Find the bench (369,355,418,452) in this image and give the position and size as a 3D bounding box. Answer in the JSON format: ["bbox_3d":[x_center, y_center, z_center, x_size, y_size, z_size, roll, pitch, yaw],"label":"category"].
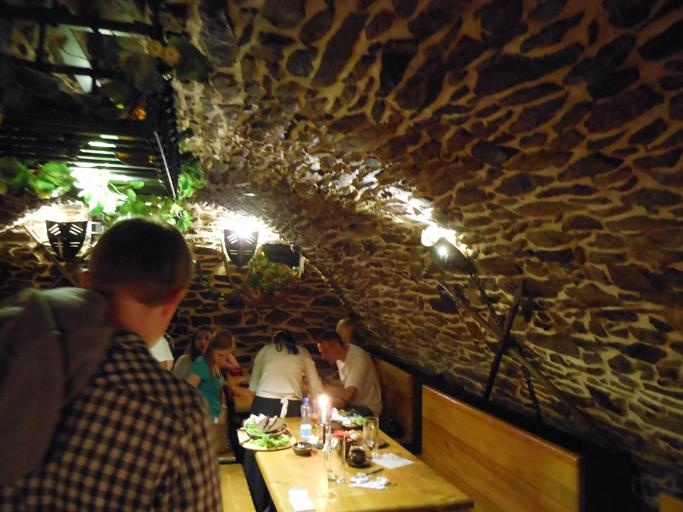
[{"bbox_3d":[0.687,1.705,5.393,0.589,0.770,1.151,-1,2,-11],"label":"bench"}]

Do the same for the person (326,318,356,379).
[{"bbox_3d":[0.023,1.225,6.196,0.329,0.811,0.809,3,-4,-14],"label":"person"}]
